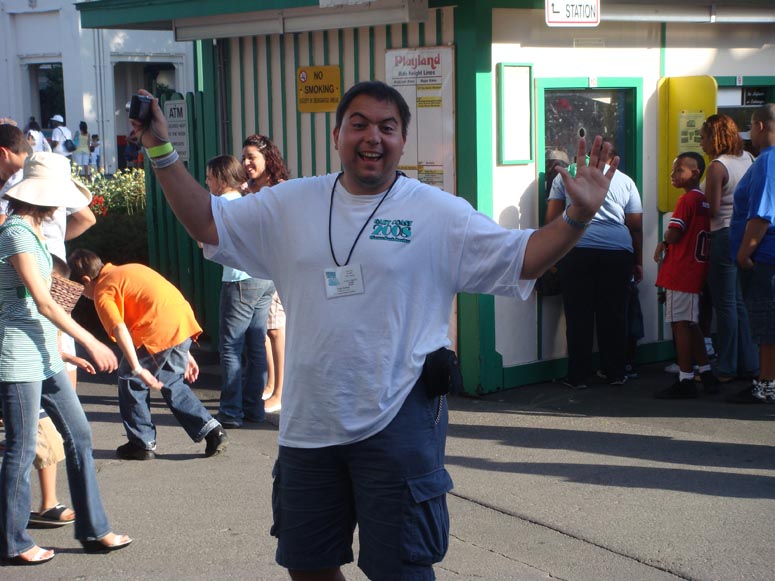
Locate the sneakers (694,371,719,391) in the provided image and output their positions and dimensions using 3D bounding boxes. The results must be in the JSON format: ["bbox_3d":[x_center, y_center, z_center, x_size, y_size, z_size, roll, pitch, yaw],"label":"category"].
[{"bbox_3d":[3.130,0.904,7.814,0.059,0.216,0.137,-31,10,-36],"label":"sneakers"}]

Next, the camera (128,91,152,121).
[{"bbox_3d":[-1.061,-0.783,3.388,0.085,0.131,0.157,-8,12,-38],"label":"camera"}]

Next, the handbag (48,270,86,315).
[{"bbox_3d":[-2.001,-0.003,4.933,0.187,0.170,0.203,29,-6,-35],"label":"handbag"}]

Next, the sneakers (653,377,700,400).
[{"bbox_3d":[2.732,0.940,7.603,0.376,0.292,0.178,2,-2,5],"label":"sneakers"}]

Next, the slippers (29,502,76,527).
[{"bbox_3d":[-2.147,1.461,5.121,0.327,0.124,0.142,-2,0,16],"label":"slippers"}]

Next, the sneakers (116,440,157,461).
[{"bbox_3d":[-1.958,1.261,6.251,0.276,0.163,0.131,9,-1,15],"label":"sneakers"}]

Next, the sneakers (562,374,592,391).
[{"bbox_3d":[1.856,0.923,7.886,0.099,0.138,0.278,1,-3,-28],"label":"sneakers"}]

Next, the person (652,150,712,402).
[{"bbox_3d":[2.818,-0.157,7.567,0.524,2.295,0.708,5,10,36],"label":"person"}]

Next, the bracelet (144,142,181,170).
[{"bbox_3d":[-0.957,-0.583,3.400,0.142,0.110,0.162,-2,10,-5],"label":"bracelet"}]

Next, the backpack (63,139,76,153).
[{"bbox_3d":[-9.430,-4.386,23.788,0.265,0.467,0.114,0,-22,0],"label":"backpack"}]

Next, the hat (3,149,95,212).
[{"bbox_3d":[-2.024,-0.649,4.839,0.348,0.235,0.405,6,12,-14],"label":"hat"}]

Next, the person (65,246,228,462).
[{"bbox_3d":[-2.074,0.338,6.361,1.448,2.087,0.969,8,11,25],"label":"person"}]

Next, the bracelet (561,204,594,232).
[{"bbox_3d":[0.780,-0.299,3.316,0.097,0.106,0.089,38,40,26],"label":"bracelet"}]

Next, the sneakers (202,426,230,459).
[{"bbox_3d":[-1.329,1.193,6.227,0.098,0.298,0.129,-4,48,-29],"label":"sneakers"}]
